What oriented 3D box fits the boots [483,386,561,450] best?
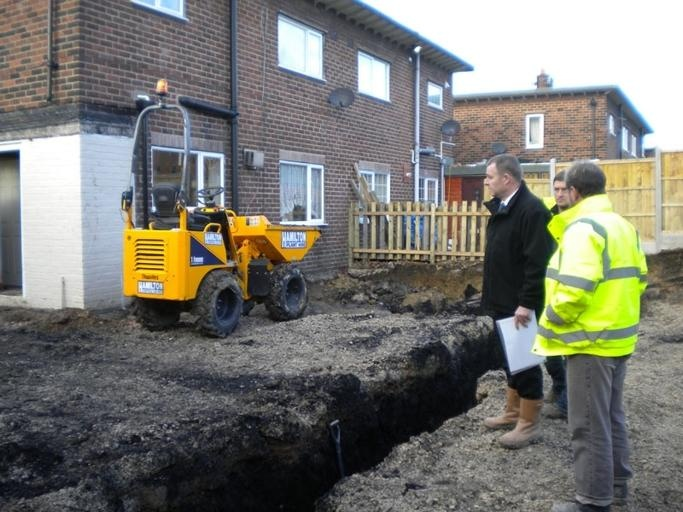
[{"bbox_3d":[1.743,1.582,6.521,0.455,0.464,0.652,2,-1,-1],"label":"boots"}]

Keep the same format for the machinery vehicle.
[{"bbox_3d":[-1.728,-0.366,10.221,1.605,2.961,3.024,2,5,36],"label":"machinery vehicle"}]
